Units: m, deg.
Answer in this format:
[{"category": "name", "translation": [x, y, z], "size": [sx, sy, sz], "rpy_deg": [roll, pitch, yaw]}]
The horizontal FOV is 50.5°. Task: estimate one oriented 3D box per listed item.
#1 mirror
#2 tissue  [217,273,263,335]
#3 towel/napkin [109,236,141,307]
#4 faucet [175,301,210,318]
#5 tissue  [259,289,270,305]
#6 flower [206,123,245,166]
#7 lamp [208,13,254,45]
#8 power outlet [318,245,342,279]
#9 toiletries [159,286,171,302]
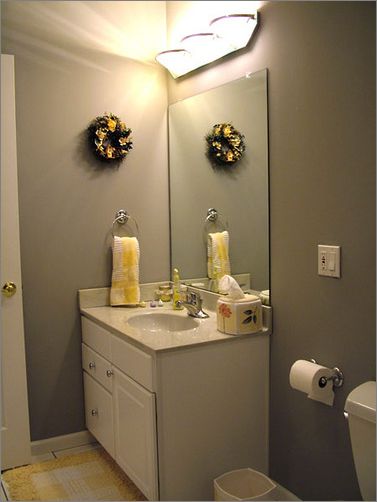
[{"category": "mirror", "translation": [0.111, -0.331, 1.993], "size": [0.031, 1.002, 0.882], "rpy_deg": [-3, 3, -29]}, {"category": "tissue ", "translation": [0.200, 0.213, 1.710], "size": [0.201, 0.294, 0.203], "rpy_deg": [-2, 2, -17]}, {"category": "towel/napkin", "translation": [-0.345, 0.107, 2.147], "size": [0.157, 0.357, 0.046], "rpy_deg": [-2, 3, -23]}, {"category": "faucet", "translation": [0.026, 0.272, 1.938], "size": [0.057, 0.074, 0.178], "rpy_deg": [-11, 6, -27]}, {"category": "tissue ", "translation": [0.321, 0.194, 1.664], "size": [0.050, 0.052, 0.052], "rpy_deg": [-1, 2, -15]}, {"category": "flower", "translation": [0.179, -0.490, 1.889], "size": [0.063, 0.200, 0.180], "rpy_deg": [-5, 11, -37]}, {"category": "lamp", "translation": [0.190, -0.915, 1.639], "size": [0.115, 0.078, 0.172], "rpy_deg": [-3, 3, -34]}, {"category": "power outlet", "translation": [0.482, 0.038, 1.355], "size": [0.010, 0.110, 0.097], "rpy_deg": [-2, 3, -24]}, {"category": "toiletries", "translation": [-0.129, 0.245, 2.289], "size": [0.073, 0.087, 0.074], "rpy_deg": [-1, 1, -29]}]
